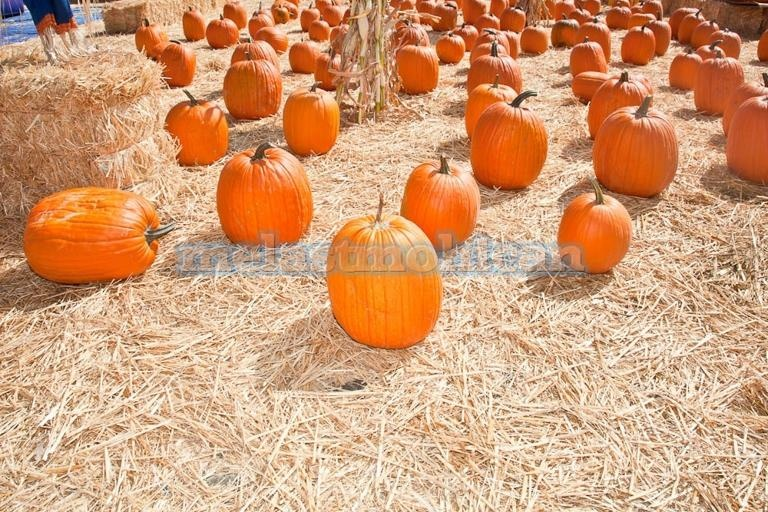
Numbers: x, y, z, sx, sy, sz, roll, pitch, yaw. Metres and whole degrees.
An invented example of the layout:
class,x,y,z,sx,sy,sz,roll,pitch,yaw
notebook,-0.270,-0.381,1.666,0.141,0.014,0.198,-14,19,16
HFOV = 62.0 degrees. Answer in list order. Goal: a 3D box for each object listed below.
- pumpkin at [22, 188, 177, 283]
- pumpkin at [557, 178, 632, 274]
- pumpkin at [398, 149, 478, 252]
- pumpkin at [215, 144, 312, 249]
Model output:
class,x,y,z,sx,sy,sz,roll,pitch,yaw
pumpkin,-2.105,-0.167,4.820,1.051,0.447,0.700,3,7,-2
pumpkin,1.632,-0.234,4.944,0.583,0.655,0.561,-11,22,-34
pumpkin,0.277,-0.484,5.186,0.787,0.777,0.709,7,21,-8
pumpkin,-0.950,-0.483,4.999,0.731,0.760,0.466,-9,38,-11
